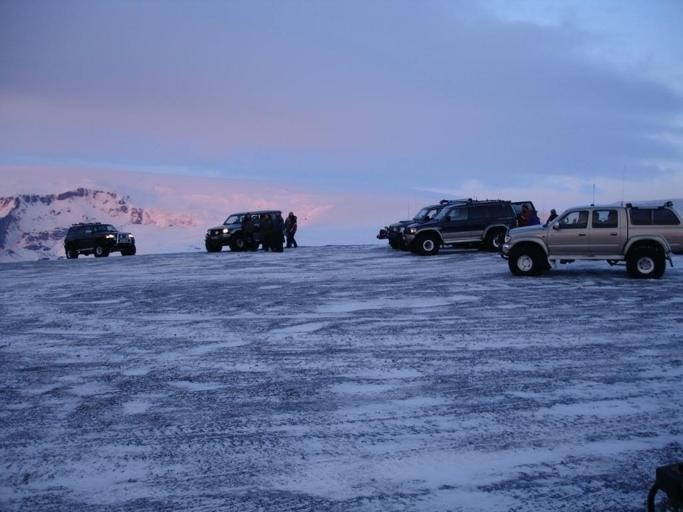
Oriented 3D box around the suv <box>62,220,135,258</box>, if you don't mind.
[{"bbox_3d":[-12.071,-0.765,33.022,3.453,1.793,1.954,1,11,13],"label":"suv"}]
